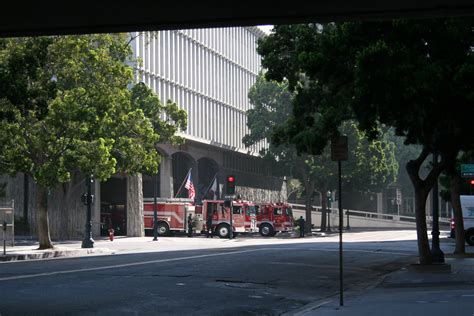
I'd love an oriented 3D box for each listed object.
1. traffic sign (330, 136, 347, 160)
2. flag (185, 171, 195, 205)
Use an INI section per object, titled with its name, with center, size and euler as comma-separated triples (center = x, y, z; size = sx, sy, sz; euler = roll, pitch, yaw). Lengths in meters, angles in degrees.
[traffic sign]
center = 3.555, -0.348, 26.630
size = 0.801, 1.168, 0.151
euler = 1, 2, 9
[flag]
center = -3.777, 2.386, 62.490
size = 0.972, 2.755, 0.258
euler = 1, -44, -1
